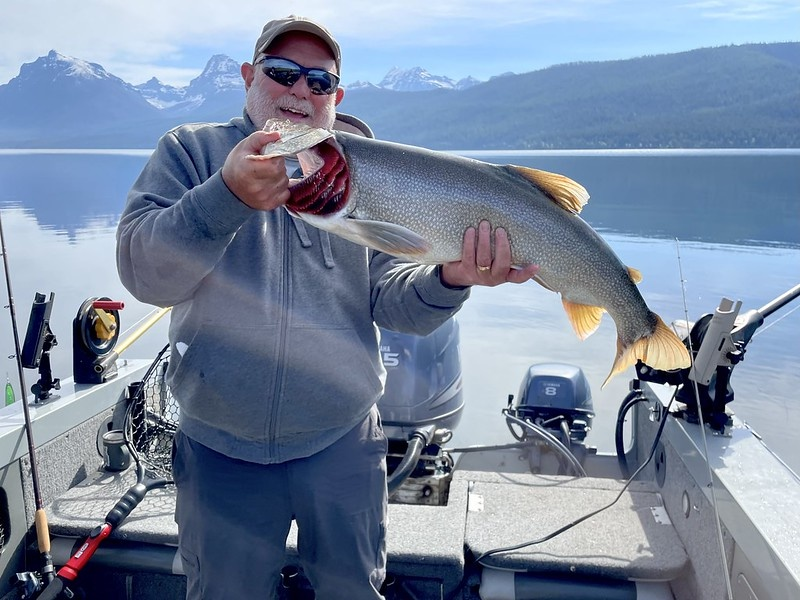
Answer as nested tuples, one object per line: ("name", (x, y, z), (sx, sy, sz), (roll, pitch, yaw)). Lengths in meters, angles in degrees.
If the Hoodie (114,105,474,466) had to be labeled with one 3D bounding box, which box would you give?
("Hoodie", (-0.553, 0.069, 3.720), (2.126, 2.168, 1.560), (11, -11, -29))
